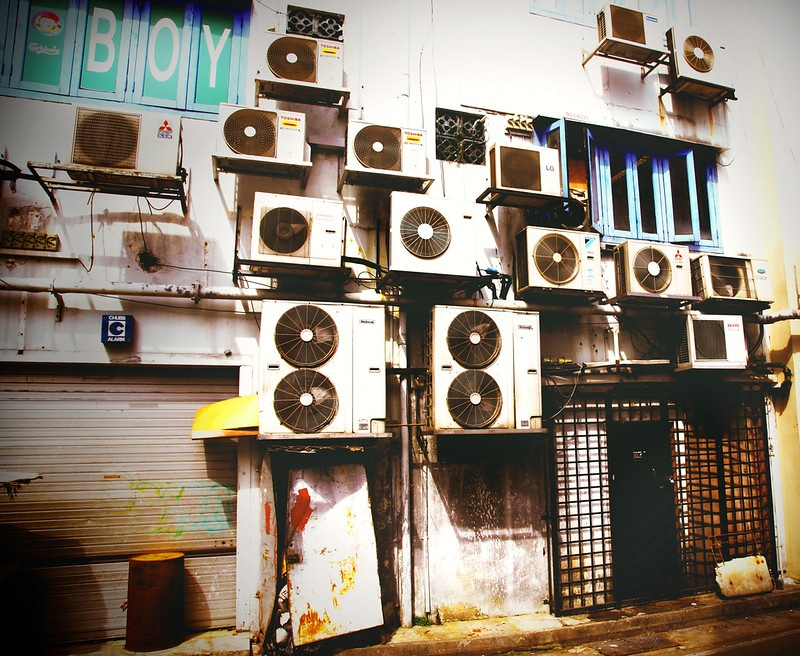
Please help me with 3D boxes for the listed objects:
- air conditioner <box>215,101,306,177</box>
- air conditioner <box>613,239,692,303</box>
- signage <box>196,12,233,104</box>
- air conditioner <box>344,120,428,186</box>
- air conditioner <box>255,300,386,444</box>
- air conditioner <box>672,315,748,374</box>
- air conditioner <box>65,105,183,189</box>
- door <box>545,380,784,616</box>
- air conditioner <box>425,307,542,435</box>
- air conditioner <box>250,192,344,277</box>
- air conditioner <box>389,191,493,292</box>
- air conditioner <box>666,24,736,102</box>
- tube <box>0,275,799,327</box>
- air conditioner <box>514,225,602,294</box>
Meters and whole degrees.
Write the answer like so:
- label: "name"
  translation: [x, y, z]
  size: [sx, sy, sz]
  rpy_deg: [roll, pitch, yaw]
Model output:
- label: "air conditioner"
  translation: [-1.855, -2.312, 9.987]
  size: [1.262, 0.964, 0.754]
  rpy_deg: [4, -26, -11]
- label: "air conditioner"
  translation: [3.655, -0.785, 10.917]
  size: [0.678, 0.675, 0.294]
  rpy_deg: [6, -17, -16]
- label: "signage"
  translation: [-2.567, -3.728, 10.426]
  size: [0.632, 2.076, 0.083]
  rpy_deg: [1, -29, -11]
- label: "air conditioner"
  translation: [-0.217, -2.323, 10.174]
  size: [0.720, 0.574, 0.280]
  rpy_deg: [6, -23, -15]
- label: "air conditioner"
  translation: [-1.026, 0.606, 9.448]
  size: [1.383, 1.712, 0.612]
  rpy_deg: [2, -10, -12]
- label: "air conditioner"
  translation: [4.449, 0.242, 10.861]
  size: [0.641, 0.643, 0.268]
  rpy_deg: [3, -14, -7]
- label: "air conditioner"
  translation: [-3.462, -2.316, 9.422]
  size: [1.329, 1.034, 0.825]
  rpy_deg: [2, -18, -11]
- label: "door"
  translation: [3.685, 2.529, 10.867]
  size: [2.714, 2.604, 0.129]
  rpy_deg: [0, -3, -17]
- label: "air conditioner"
  translation: [1.080, 0.610, 9.944]
  size: [1.305, 1.601, 0.501]
  rpy_deg: [3, -10, -15]
- label: "air conditioner"
  translation: [-1.327, -1.105, 9.891]
  size: [1.090, 0.966, 0.715]
  rpy_deg: [2, -20, -8]
- label: "air conditioner"
  translation: [0.487, -1.133, 10.099]
  size: [1.086, 1.123, 0.452]
  rpy_deg: [6, -18, -17]
- label: "air conditioner"
  translation: [4.872, -4.283, 12.314]
  size: [0.997, 1.003, 0.406]
  rpy_deg: [13, -22, -22]
- label: "tube"
  translation: [-0.873, -0.264, 10.221]
  size: [8.534, 0.526, 0.374]
  rpy_deg: [2, -6, -12]
- label: "air conditioner"
  translation: [2.206, -0.920, 10.559]
  size: [0.721, 0.711, 0.320]
  rpy_deg: [6, -22, -9]
